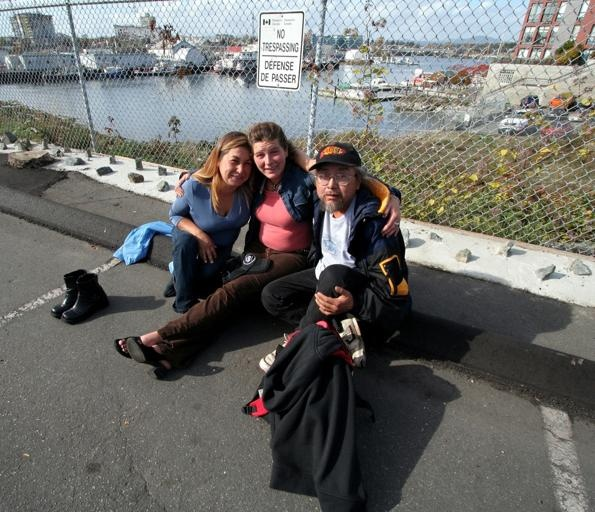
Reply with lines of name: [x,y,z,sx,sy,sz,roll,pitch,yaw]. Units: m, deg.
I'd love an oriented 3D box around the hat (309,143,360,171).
hat: [0.240,-0.618,2.682,0.186,0.108,0.241,7,6,41]

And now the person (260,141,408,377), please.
person: [0.233,-0.021,2.952,1.092,1.375,0.976,-7,11,-25]

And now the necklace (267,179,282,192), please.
necklace: [-0.186,-0.511,3.152,0.082,0.099,0.049,-4,-4,17]

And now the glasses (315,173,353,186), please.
glasses: [0.223,-0.481,2.717,0.224,0.076,0.059,9,32,12]
